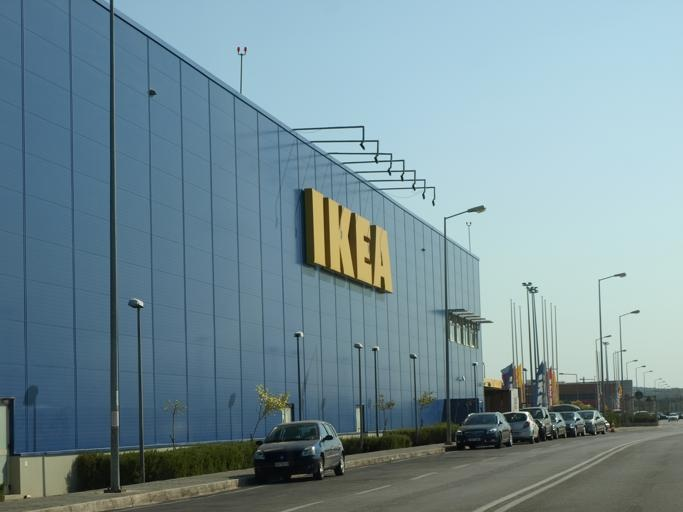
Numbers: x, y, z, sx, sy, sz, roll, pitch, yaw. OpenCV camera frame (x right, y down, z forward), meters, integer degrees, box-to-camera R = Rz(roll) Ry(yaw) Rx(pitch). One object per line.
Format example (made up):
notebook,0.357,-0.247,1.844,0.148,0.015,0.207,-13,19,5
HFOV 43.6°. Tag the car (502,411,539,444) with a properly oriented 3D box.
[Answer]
car,10.361,9.747,48.720,1.209,1.217,2.415,-3,-18,13

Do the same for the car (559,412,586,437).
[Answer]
car,15.952,11.501,58.638,1.110,1.099,2.634,-6,-22,16

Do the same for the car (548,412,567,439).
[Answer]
car,13.948,10.928,55.179,1.142,1.309,2.355,-5,-20,16

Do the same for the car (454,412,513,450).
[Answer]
car,7.110,8.908,43.358,2.370,2.040,2.639,-14,-22,28

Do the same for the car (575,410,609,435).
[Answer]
car,18.380,12.108,62.169,1.342,1.158,2.887,-7,-23,21

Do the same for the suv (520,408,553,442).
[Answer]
suv,11.979,9.988,51.337,1.212,1.256,2.286,-5,-22,15

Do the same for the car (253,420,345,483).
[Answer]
car,-1.500,6.714,29.466,3.041,2.176,2.155,2,-19,-14
